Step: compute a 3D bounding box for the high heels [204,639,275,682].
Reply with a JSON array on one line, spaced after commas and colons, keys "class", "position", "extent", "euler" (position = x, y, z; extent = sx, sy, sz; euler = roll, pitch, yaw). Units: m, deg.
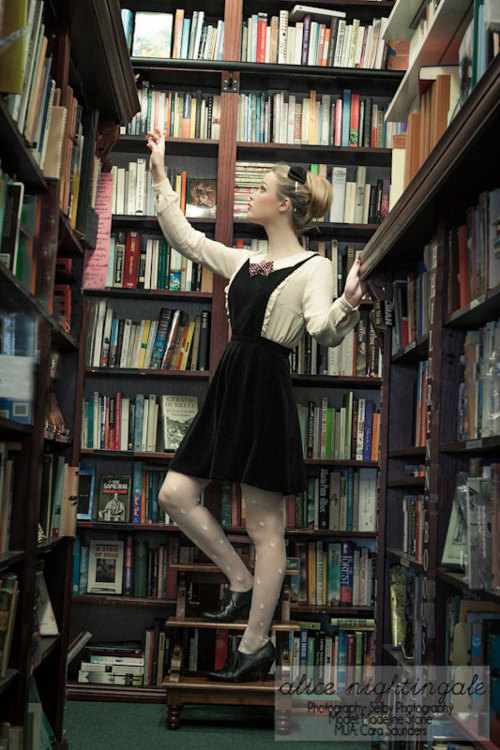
[{"class": "high heels", "position": [-0.027, 0.836, 1.956], "extent": [0.269, 0.139, 0.100], "euler": [-16, -12, 37]}]

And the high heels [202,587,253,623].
[{"class": "high heels", "position": [-0.054, 0.693, 1.989], "extent": [0.196, 0.095, 0.066], "euler": [-1, -13, -21]}]
